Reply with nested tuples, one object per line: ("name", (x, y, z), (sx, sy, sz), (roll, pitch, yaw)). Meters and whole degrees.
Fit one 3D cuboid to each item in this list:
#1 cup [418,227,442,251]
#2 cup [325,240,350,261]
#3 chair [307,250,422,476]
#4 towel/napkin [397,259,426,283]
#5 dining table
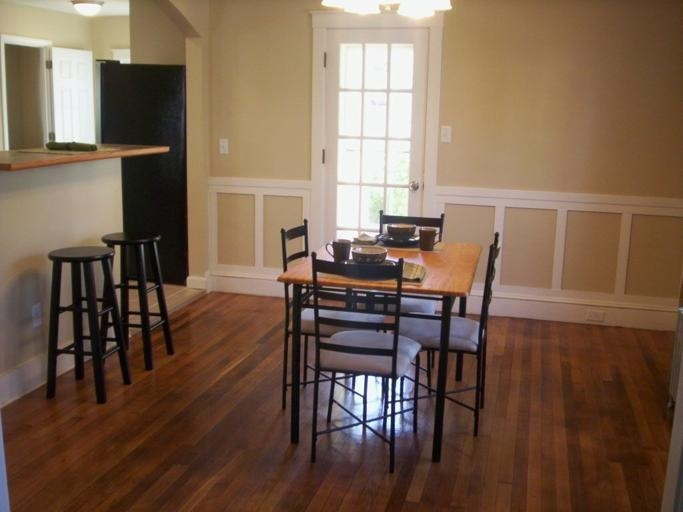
("cup", (0.571, -0.116, 3.782), (0.206, 0.197, 0.138), (0, 7, 1))
("cup", (-0.039, -0.034, 3.337), (0.164, 0.125, 0.111), (3, 8, 24))
("chair", (0.127, 0.476, 3.303), (0.703, 1.134, 0.981), (2, 11, 7))
("towel/napkin", (0.395, 0.087, 3.109), (0.115, 0.029, 0.115), (6, 24, 16))
("dining table", (0.278, 0.560, 3.506), (1.075, 1.096, 1.420), (2, 12, 11))
